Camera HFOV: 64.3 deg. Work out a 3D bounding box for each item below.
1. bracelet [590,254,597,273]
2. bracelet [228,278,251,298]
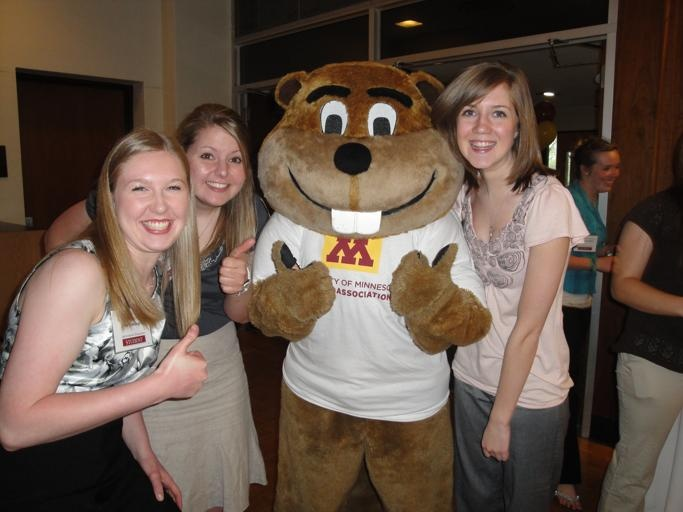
[{"bbox_3d":[1.545,0.047,3.336,0.029,0.077,0.074,2,3,14],"label":"bracelet"},{"bbox_3d":[-0.421,0.124,2.222,0.066,0.050,0.070,-11,-17,-42],"label":"bracelet"}]
